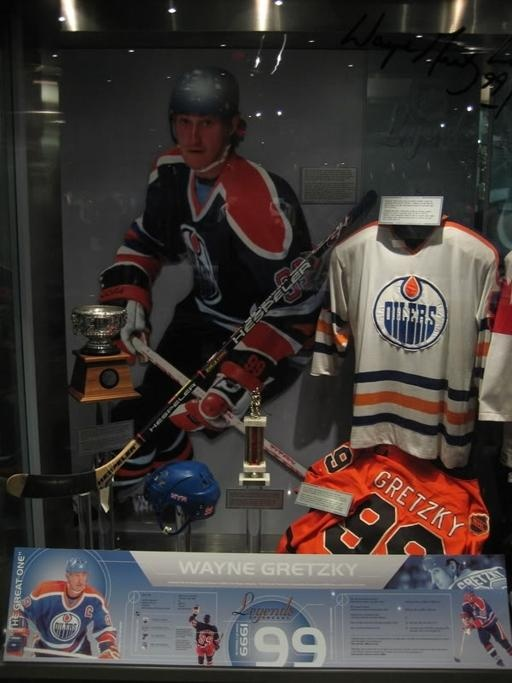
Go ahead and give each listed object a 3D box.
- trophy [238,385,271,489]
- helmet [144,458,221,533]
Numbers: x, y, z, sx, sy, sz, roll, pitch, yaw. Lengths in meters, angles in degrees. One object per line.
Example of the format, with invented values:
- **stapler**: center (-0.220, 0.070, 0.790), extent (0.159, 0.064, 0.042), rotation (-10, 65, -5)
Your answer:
- **trophy**: center (-0.009, 0.354, 2.062), extent (0.095, 0.354, 0.170), rotation (1, 4, 0)
- **helmet**: center (-0.261, 0.573, 2.118), extent (0.265, 0.283, 0.186), rotation (0, 4, -9)
